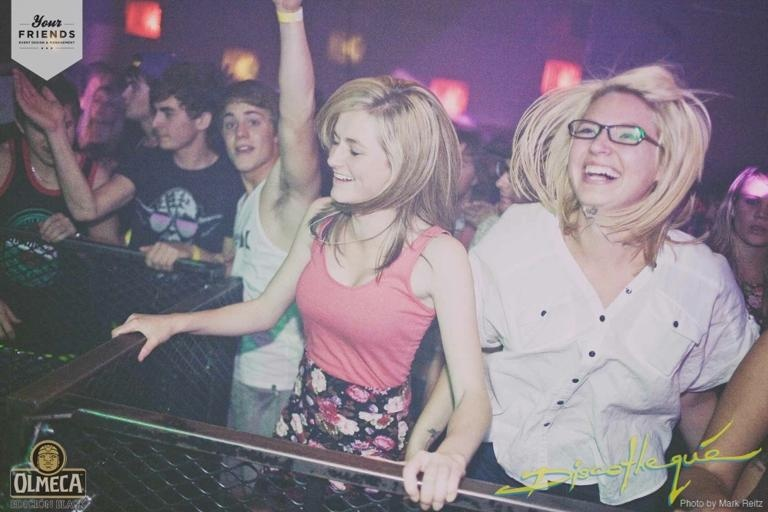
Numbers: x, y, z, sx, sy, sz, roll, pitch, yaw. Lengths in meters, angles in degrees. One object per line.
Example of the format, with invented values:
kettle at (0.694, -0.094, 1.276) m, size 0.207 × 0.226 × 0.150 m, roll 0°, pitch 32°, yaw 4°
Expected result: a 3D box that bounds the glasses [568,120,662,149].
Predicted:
glasses at (1.065, -0.570, 3.399) m, size 0.423 × 0.099 × 0.031 m, roll 7°, pitch 16°, yaw 8°
